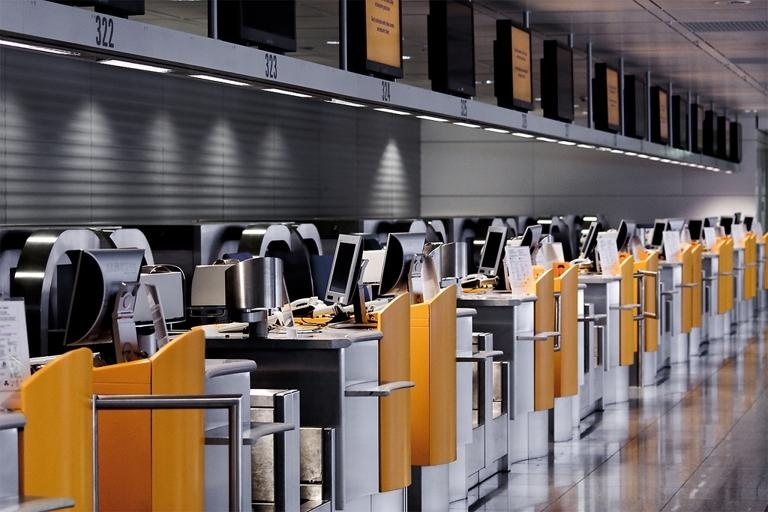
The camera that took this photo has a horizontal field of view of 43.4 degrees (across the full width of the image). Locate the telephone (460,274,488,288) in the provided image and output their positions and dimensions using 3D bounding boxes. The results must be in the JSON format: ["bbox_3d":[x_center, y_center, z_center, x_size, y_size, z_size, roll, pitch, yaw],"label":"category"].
[{"bbox_3d":[0.863,0.236,9.505,0.282,0.091,0.153,1,1,-29],"label":"telephone"}]

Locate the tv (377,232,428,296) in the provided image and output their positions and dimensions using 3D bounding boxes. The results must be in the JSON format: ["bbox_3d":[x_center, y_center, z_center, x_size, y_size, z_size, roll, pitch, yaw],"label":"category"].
[{"bbox_3d":[0.144,0.074,7.379,0.171,0.437,0.486,10,6,30],"label":"tv"}]

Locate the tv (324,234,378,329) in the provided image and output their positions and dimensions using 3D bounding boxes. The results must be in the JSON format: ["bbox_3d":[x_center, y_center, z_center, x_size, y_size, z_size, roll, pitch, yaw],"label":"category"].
[{"bbox_3d":[-0.272,0.163,6.976,0.276,0.636,0.410,0,4,-9],"label":"tv"}]

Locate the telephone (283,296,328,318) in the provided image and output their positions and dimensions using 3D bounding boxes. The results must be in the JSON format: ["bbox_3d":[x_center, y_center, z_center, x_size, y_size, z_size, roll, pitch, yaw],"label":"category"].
[{"bbox_3d":[-0.551,0.382,7.211,0.408,0.169,0.123,1,-1,33],"label":"telephone"}]

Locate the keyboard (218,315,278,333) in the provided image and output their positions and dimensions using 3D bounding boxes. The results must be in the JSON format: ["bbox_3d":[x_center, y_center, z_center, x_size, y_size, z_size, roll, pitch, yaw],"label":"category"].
[{"bbox_3d":[-0.912,0.459,6.555,0.454,0.097,0.424,0,4,-7],"label":"keyboard"}]

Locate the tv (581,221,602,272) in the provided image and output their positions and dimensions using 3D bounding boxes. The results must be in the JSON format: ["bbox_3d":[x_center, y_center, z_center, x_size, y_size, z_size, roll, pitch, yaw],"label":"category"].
[{"bbox_3d":[2.778,-0.123,12.978,0.246,0.587,0.856,2,-1,10],"label":"tv"}]

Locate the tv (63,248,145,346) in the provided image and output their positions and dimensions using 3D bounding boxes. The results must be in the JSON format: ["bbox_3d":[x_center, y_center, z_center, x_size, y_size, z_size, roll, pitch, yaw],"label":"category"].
[{"bbox_3d":[-1.554,0.236,5.414,0.206,0.537,0.576,12,8,31],"label":"tv"}]

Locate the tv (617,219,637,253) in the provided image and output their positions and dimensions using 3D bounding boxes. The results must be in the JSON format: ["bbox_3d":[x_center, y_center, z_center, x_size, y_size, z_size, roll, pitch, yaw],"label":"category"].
[{"bbox_3d":[3.522,-0.291,14.046,0.273,0.694,0.704,0,-2,18],"label":"tv"}]
